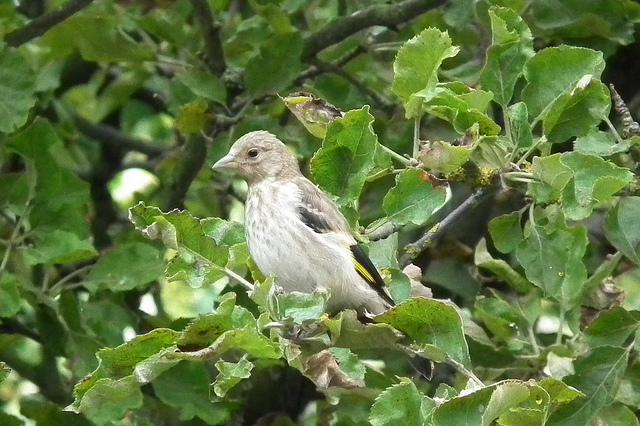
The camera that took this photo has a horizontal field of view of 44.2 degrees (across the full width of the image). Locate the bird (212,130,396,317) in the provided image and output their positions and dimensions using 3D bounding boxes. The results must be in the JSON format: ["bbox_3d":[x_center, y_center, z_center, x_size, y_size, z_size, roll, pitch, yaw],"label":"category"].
[{"bbox_3d":[-0.135,0.032,5.022,0.709,1.137,1.153,-3,0,-24],"label":"bird"}]
